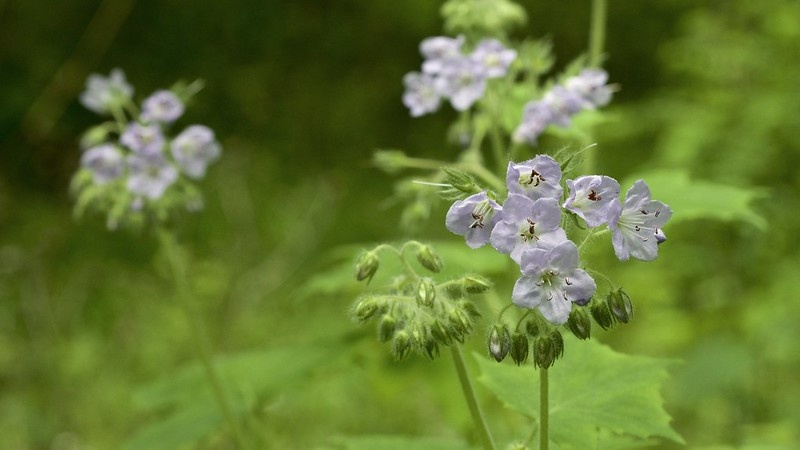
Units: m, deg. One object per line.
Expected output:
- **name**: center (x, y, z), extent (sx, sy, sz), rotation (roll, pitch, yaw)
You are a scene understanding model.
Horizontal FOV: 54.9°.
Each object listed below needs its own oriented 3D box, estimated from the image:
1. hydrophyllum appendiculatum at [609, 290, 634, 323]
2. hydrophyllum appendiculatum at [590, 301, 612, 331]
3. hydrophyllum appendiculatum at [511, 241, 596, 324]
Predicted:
- **hydrophyllum appendiculatum**: center (1.017, 0.378, 3.605), extent (0.121, 0.149, 0.050), rotation (-17, 7, -27)
- **hydrophyllum appendiculatum**: center (0.932, 0.411, 3.593), extent (0.049, 0.132, 0.088), rotation (-20, -12, -44)
- **hydrophyllum appendiculatum**: center (0.702, 0.257, 3.511), extent (0.355, 0.378, 0.158), rotation (1, -4, -23)
